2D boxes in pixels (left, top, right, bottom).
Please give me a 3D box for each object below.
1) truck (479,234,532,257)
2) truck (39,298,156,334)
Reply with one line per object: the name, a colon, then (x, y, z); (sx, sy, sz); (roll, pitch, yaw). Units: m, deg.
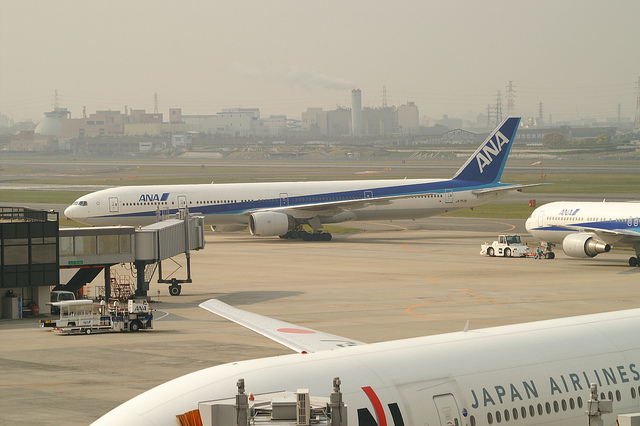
truck: (13.166, 2.351, 85.468); (3.159, 1.168, 1.657); (0, 3, 5)
truck: (-11.192, 5.605, 62.421); (4.180, 1.039, 2.544); (-1, 1, -18)
